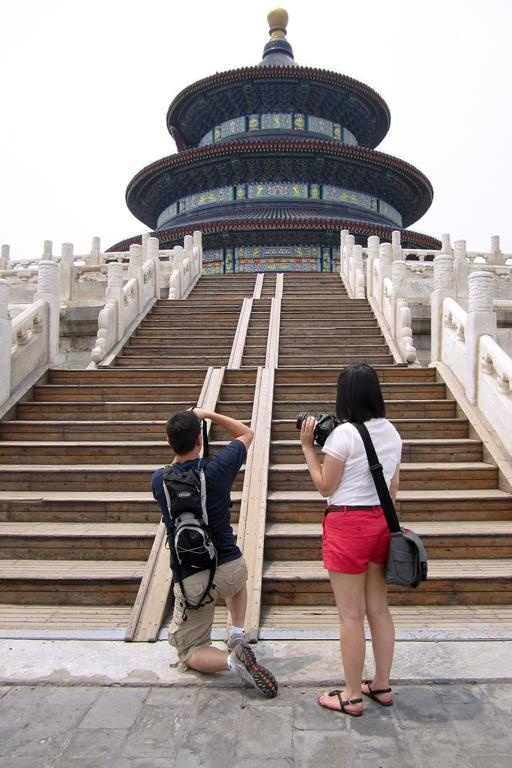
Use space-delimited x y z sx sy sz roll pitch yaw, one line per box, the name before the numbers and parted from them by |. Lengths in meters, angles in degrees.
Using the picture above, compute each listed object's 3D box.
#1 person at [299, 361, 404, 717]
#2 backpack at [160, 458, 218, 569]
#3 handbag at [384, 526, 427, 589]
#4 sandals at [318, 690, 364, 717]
person | 0.443 0.691 2.859 0.457 1.575 0.308 -1 -1 13
backpack | -0.328 0.659 2.963 0.251 0.560 0.198 -1 -1 -4
handbag | 0.684 0.801 2.913 0.239 0.312 0.266 2 0 10
sandals | 0.381 1.425 2.743 0.154 0.067 0.087 4 -24 26
